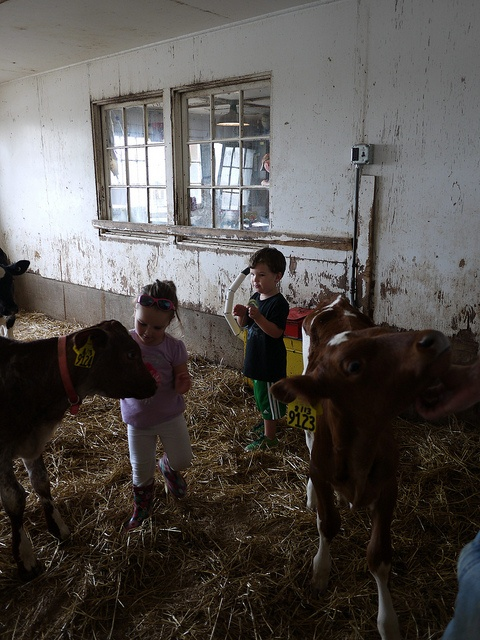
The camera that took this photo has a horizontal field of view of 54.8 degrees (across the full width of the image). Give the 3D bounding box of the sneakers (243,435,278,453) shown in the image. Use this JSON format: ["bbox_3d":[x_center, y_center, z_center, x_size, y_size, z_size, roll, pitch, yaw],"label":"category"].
[{"bbox_3d":[0.125,0.736,2.800,0.223,0.109,0.081,-2,-3,-10],"label":"sneakers"}]

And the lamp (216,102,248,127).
[{"bbox_3d":[-0.060,-1.689,3.862,0.104,0.233,0.403,-6,11,-30],"label":"lamp"}]

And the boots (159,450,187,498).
[{"bbox_3d":[-0.328,0.752,2.237,0.223,0.093,0.080,49,14,31],"label":"boots"}]

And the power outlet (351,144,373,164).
[{"bbox_3d":[0.771,-1.048,2.915,0.103,0.111,0.057,7,13,31],"label":"power outlet"}]
